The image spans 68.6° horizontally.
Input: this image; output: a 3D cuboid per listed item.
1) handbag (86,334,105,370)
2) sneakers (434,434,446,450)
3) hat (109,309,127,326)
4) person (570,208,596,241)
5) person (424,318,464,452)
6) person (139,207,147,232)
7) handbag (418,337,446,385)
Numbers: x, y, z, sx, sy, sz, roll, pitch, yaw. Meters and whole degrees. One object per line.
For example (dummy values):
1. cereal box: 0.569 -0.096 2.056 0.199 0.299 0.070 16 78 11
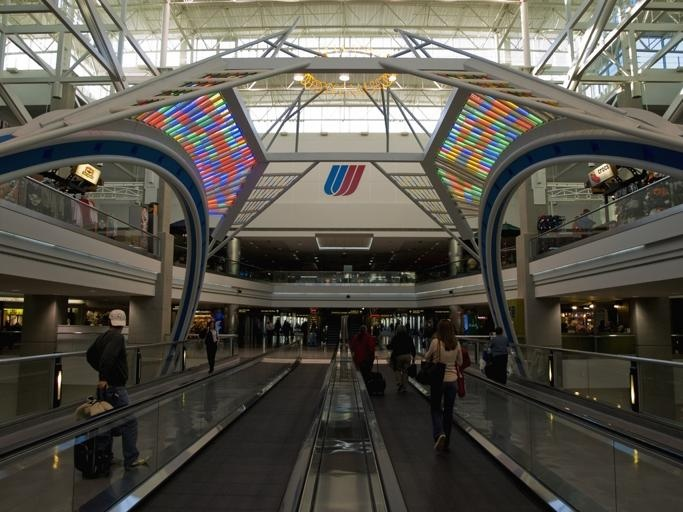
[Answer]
1. handbag: -3.551 1.378 7.103 0.336 0.485 0.174 4 -11 38
2. sneakers: 1.531 2.857 7.731 0.123 0.131 0.297 2 -48 4
3. hat: -3.239 0.869 7.103 0.198 0.164 0.310 6 -1 -27
4. person: 7.919 -0.951 16.270 0.271 0.899 1.450 -4 -12 10
5. person: 1.697 2.038 8.082 0.588 2.040 0.820 -5 -11 13
6. person: -8.557 -1.596 21.348 0.230 1.131 0.697 0 -12 -14
7. handbag: 1.431 1.740 8.007 0.499 0.692 0.178 -6 -33 30
